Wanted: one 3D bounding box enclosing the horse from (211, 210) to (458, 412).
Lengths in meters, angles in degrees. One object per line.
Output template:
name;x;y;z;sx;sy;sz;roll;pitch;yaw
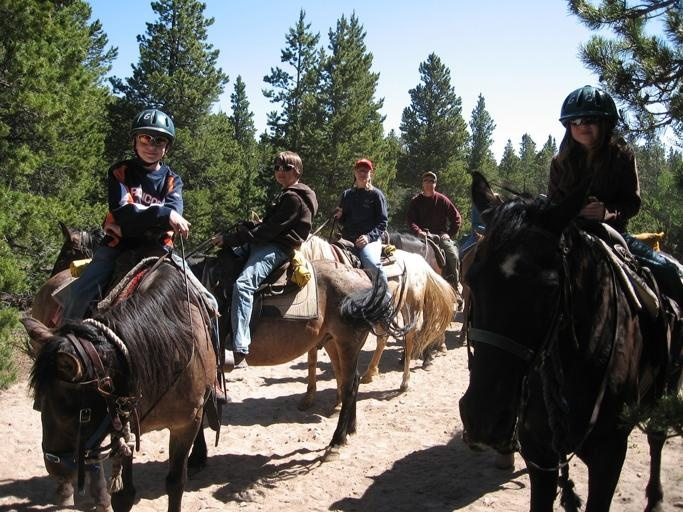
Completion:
horse;0.391;0.644;10.085;4.121;3.009;0.972;-1;7;-40

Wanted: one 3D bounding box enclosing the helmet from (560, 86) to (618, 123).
helmet;2.434;-1.530;6.114;0.635;0.373;0.461;-6;12;-41

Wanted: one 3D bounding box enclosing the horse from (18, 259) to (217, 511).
horse;-1.953;1.351;5.801;0.623;2.374;1.642;3;6;38

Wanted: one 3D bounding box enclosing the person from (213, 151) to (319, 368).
person;-0.976;-0.022;7.796;0.614;2.628;1.400;4;6;44

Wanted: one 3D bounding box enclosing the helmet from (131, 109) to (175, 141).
helmet;-2.050;-1.341;6.801;0.295;0.437;0.324;17;33;-9
